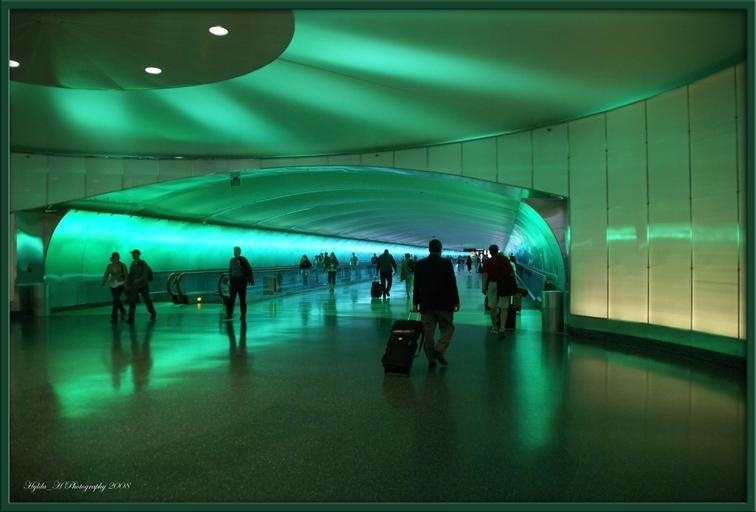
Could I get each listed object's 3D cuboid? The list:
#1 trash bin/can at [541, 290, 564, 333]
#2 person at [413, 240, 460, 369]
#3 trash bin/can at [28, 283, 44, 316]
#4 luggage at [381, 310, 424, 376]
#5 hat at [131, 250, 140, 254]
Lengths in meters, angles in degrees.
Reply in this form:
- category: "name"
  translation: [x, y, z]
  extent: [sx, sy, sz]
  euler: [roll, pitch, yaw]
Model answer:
- category: "trash bin/can"
  translation: [4.194, 1.321, 14.814]
  extent: [0.875, 0.948, 0.856]
  euler: [-1, -1, 22]
- category: "person"
  translation: [1.023, 0.885, 10.899]
  extent: [0.773, 2.208, 0.573]
  euler: [-1, 12, 4]
- category: "trash bin/can"
  translation: [-9.809, 1.293, 18.208]
  extent: [0.397, 0.933, 0.412]
  euler: [0, 0, 43]
- category: "luggage"
  translation: [0.419, 1.574, 10.615]
  extent: [0.578, 0.867, 0.613]
  euler: [3, 12, 20]
- category: "hat"
  translation: [-6.993, -0.129, 18.055]
  extent: [0.196, 0.097, 0.267]
  euler: [4, -4, -44]
